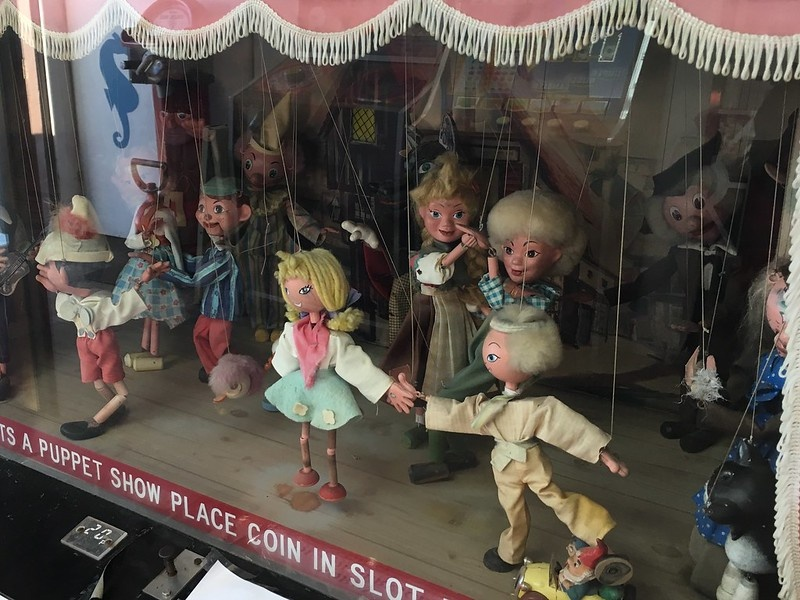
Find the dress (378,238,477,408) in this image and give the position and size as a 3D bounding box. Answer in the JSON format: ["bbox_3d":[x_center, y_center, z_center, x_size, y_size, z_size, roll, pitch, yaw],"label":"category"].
[{"bbox_3d":[0.122,0.056,2.534,0.366,0.547,0.293,-10,38,-5],"label":"dress"}]

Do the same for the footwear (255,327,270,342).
[{"bbox_3d":[-0.563,0.142,2.787,0.058,0.058,0.017,55,9,23],"label":"footwear"}]

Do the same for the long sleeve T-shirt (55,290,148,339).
[{"bbox_3d":[-1.238,0.037,2.744,0.418,0.174,0.160,2,-1,14],"label":"long sleeve T-shirt"}]

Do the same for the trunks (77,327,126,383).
[{"bbox_3d":[-1.230,0.220,2.779,0.163,0.215,0.123,-8,20,-17],"label":"trunks"}]

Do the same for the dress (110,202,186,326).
[{"bbox_3d":[-1.062,-0.175,2.871,0.353,0.556,0.281,4,0,35],"label":"dress"}]

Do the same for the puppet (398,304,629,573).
[{"bbox_3d":[0.346,0.474,2.280,0.525,0.948,0.826,-3,2,-41],"label":"puppet"}]

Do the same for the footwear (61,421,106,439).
[{"bbox_3d":[-1.261,0.509,2.700,0.138,0.044,0.076,2,17,-17],"label":"footwear"}]

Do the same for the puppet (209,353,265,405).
[{"bbox_3d":[-0.618,0.291,2.625,0.155,0.158,0.203,-1,12,27],"label":"puppet"}]

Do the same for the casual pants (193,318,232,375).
[{"bbox_3d":[-0.805,0.173,2.917,0.140,0.247,0.086,6,19,-8],"label":"casual pants"}]

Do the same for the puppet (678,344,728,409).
[{"bbox_3d":[0.974,0.253,2.230,0.085,0.187,0.137,-3,-3,-8],"label":"puppet"}]

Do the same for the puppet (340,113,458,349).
[{"bbox_3d":[0.003,-0.272,2.439,0.313,0.909,0.634,-4,15,-20],"label":"puppet"}]

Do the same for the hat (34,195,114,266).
[{"bbox_3d":[-1.278,-0.277,2.788,0.267,0.246,0.257,17,20,8],"label":"hat"}]

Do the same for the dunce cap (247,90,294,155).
[{"bbox_3d":[-0.486,-0.700,2.612,0.096,0.216,0.142,-8,3,41],"label":"dunce cap"}]

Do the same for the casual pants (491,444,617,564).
[{"bbox_3d":[0.444,0.623,2.125,0.428,0.438,0.142,1,24,13],"label":"casual pants"}]
